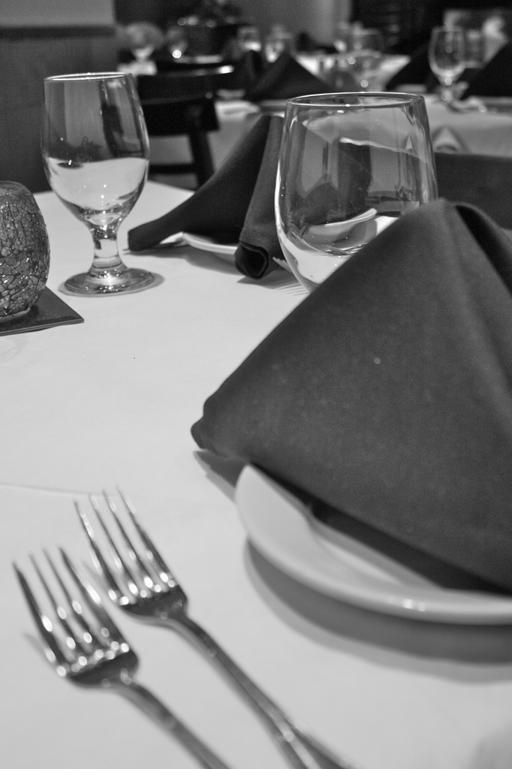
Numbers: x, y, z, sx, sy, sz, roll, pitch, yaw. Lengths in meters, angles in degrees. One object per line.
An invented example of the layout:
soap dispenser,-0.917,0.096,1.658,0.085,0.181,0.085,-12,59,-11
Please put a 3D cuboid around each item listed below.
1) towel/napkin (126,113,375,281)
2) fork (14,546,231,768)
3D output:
towel/napkin,-0.035,-0.216,0.745,0.180,0.067,0.182,27,49,31
fork,-0.075,0.069,0.290,0.029,0.029,0.204,-16,33,-31
